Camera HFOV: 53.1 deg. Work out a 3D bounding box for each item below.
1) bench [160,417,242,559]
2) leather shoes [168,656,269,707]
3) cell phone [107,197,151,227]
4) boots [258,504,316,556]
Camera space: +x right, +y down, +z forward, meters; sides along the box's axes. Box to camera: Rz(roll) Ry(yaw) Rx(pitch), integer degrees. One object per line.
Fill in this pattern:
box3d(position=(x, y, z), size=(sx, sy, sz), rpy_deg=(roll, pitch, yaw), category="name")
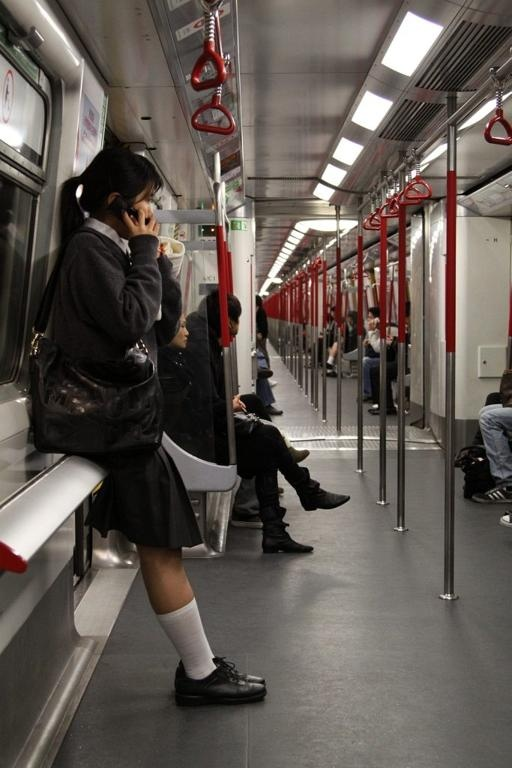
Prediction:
box3d(position=(-0.332, 0.740, 3.413), size=(0.620, 0.915, 1.235), rpy_deg=(-1, 2, -4), category="bench")
box3d(position=(-0.116, 0.960, 1.738), size=(0.247, 0.141, 0.155), rpy_deg=(2, -10, -7), category="leather shoes")
box3d(position=(-0.350, -0.454, 1.353), size=(0.088, 0.063, 0.057), rpy_deg=(0, -3, 1), category="cell phone")
box3d(position=(0.197, 1.030, 3.664), size=(0.432, 0.472, 0.205), rpy_deg=(-1, -2, -6), category="boots")
